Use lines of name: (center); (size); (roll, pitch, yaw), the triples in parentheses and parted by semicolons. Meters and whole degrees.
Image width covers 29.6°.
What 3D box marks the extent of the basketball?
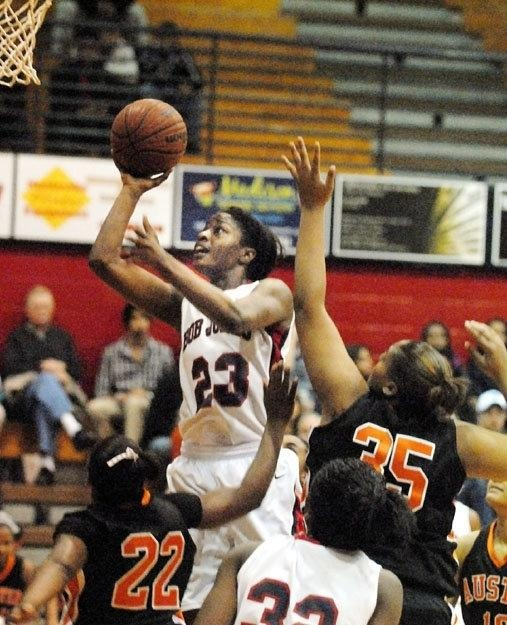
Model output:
basketball: (-0.373, -0.607, 3.339); (0.260, 0.288, 0.161); (6, 6, -5)
